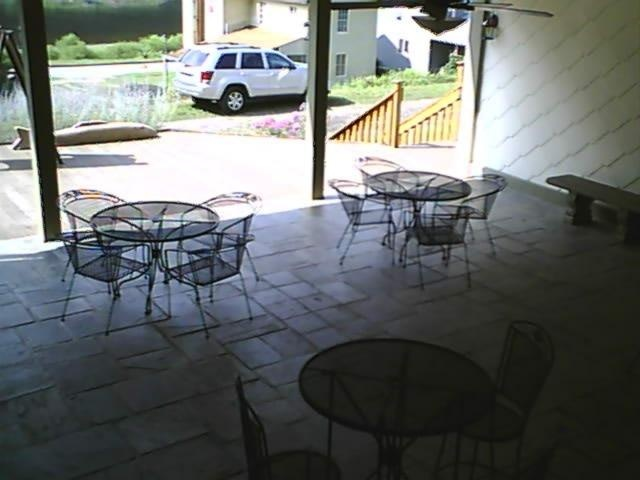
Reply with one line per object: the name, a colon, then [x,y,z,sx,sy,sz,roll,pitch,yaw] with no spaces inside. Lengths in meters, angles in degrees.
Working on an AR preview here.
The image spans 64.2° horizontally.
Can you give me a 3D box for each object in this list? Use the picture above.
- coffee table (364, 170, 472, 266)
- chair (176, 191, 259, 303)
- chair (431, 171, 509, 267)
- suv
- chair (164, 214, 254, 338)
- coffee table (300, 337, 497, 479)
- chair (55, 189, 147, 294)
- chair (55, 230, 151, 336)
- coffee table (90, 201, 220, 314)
coffee table: [1.122,-0.244,5.953,1.055,0.731,1.026,-8,19,-26]
chair: [-1.029,0.100,5.271,0.795,0.885,0.745,-11,20,-32]
chair: [1.519,-0.214,6.122,0.811,0.871,0.780,-7,41,8]
suv: [-1.442,-3.317,10.194,2.846,1.106,1.280,-16,37,-30]
chair: [-1.077,0.366,4.861,0.698,0.909,0.690,-26,53,-36]
coffee table: [0.443,0.875,2.972,1.014,0.636,0.944,2,34,2]
chair: [-2.213,0.048,5.112,0.772,0.973,0.786,4,34,-5]
chair: [-2.049,0.429,4.835,0.615,0.727,0.585,21,36,10]
coffee table: [-1.616,0.169,4.921,1.074,0.705,1.015,12,13,-6]
